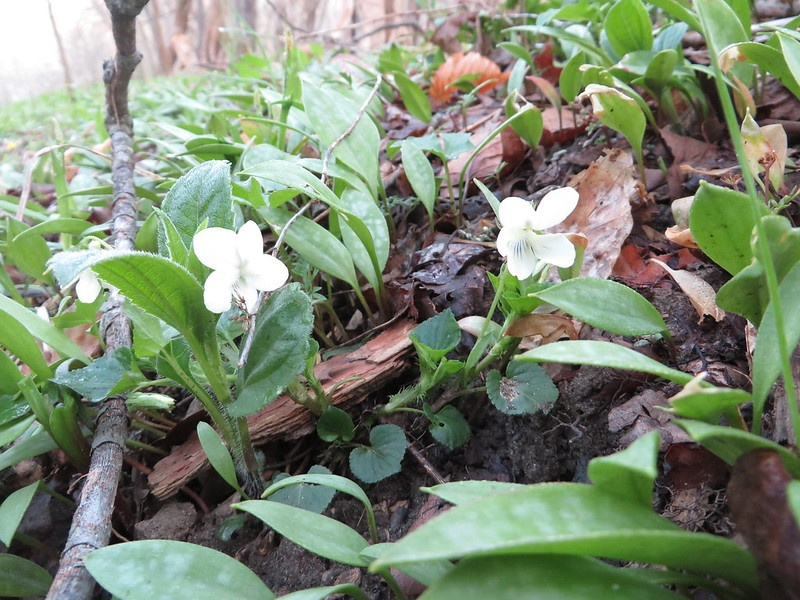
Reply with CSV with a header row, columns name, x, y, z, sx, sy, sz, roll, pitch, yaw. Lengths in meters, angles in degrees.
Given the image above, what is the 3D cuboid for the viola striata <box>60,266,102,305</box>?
name,x,y,z,sx,sy,sz,roll,pitch,yaw
viola striata,-0.888,-0.040,1.792,0.035,0.153,0.121,2,6,44

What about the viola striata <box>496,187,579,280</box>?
name,x,y,z,sx,sy,sz,roll,pitch,yaw
viola striata,0.368,-0.180,1.729,0.224,0.227,0.069,-10,19,-5
